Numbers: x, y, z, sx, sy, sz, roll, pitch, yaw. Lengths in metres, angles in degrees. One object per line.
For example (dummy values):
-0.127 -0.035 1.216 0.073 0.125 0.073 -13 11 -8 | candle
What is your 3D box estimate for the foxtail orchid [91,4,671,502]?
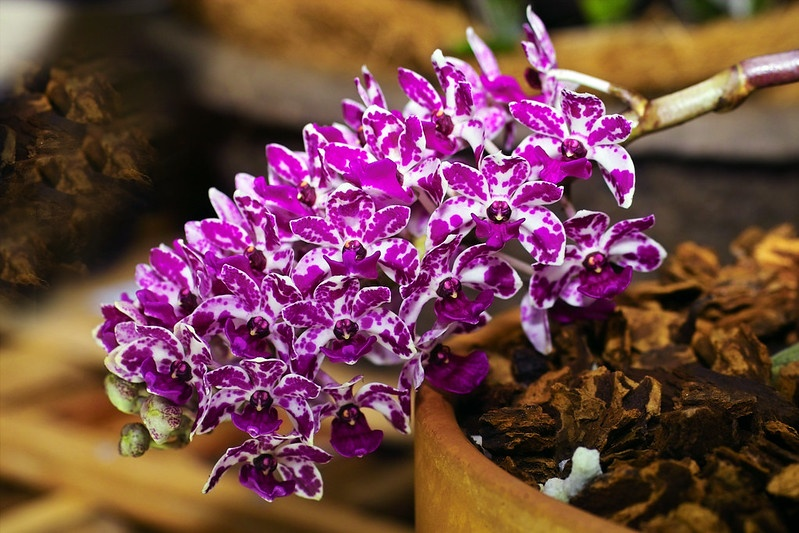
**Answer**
-0.146 0.026 1.504 1.083 0.510 0.443 -20 -10 11 | foxtail orchid
